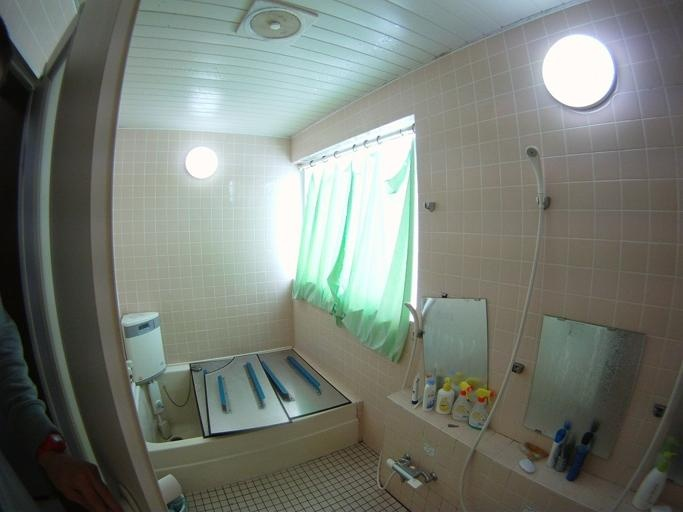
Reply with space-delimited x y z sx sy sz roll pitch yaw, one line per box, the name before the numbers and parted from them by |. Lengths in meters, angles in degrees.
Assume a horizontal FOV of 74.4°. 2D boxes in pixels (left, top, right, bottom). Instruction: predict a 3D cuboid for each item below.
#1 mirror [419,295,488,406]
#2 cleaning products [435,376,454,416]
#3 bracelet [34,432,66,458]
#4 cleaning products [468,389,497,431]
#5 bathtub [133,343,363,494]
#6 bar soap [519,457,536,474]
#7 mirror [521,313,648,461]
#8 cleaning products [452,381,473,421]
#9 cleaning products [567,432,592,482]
mirror | 0.573 0.470 2.241 0.033 0.736 0.485 -3 3 -44
cleaning products | 0.533 0.737 2.275 0.073 0.058 0.169 -9 33 22
bracelet | -0.560 0.365 0.874 0.028 0.018 0.042 5 11 0
cleaning products | 0.668 0.716 2.130 0.118 0.193 0.070 3 5 18
bathtub | -0.732 1.174 2.970 1.463 0.471 1.073 5 6 31
bar soap | 0.768 0.860 1.853 0.034 0.012 0.048 -13 20 6
mirror | 0.985 0.548 1.844 0.355 0.599 0.037 15 29 35
cleaning products | 0.593 0.709 2.199 0.086 0.213 0.072 11 24 33
cleaning products | 0.950 0.792 1.791 0.098 0.193 0.069 2 5 12
